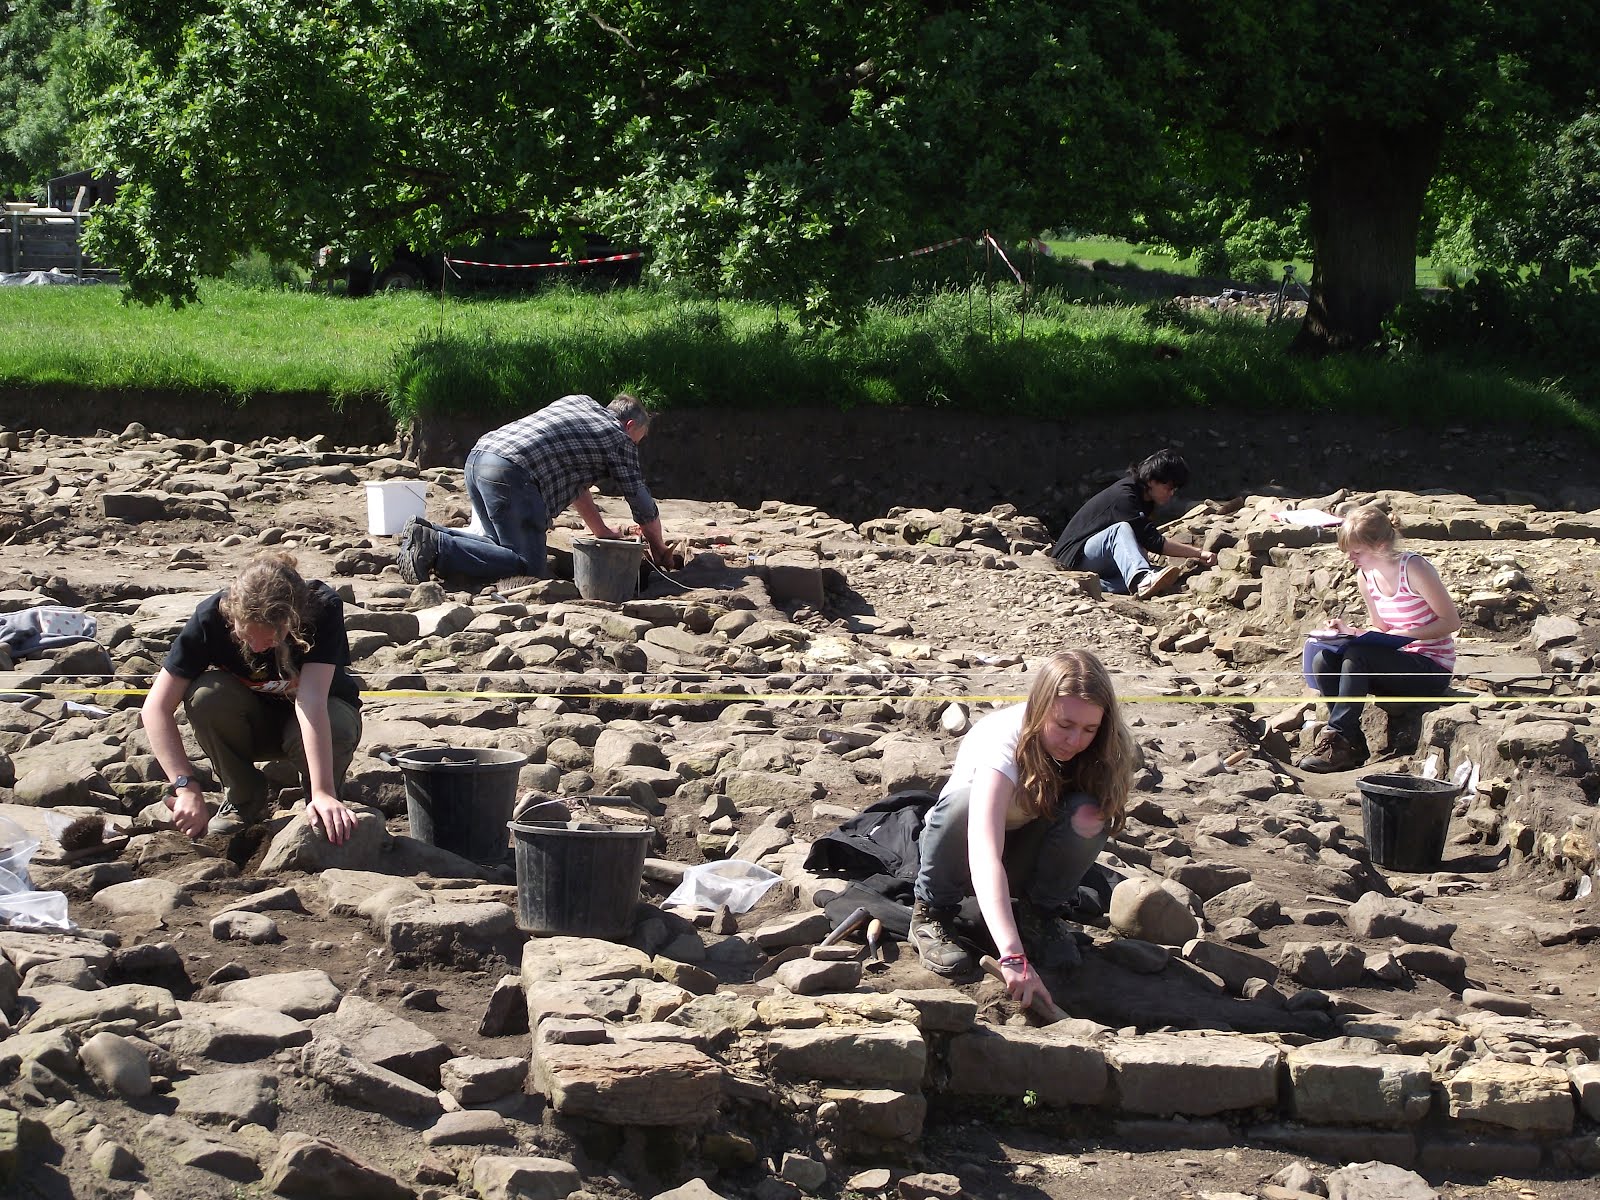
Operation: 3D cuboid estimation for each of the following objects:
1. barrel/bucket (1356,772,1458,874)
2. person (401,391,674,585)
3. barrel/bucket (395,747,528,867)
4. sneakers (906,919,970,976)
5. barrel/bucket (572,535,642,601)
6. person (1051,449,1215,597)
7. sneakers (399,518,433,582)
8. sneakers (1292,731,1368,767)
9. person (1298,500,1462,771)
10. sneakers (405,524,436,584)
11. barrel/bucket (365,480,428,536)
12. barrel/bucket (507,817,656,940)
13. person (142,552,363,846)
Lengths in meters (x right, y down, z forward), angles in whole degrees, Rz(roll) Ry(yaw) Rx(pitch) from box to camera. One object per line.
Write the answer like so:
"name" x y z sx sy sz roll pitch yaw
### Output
"barrel/bucket" 3.121 1.140 11.610 0.540 0.349 0.519 1 2 0
"person" -1.692 -0.705 14.008 1.756 0.897 0.922 -19 31 -25
"barrel/bucket" -1.594 0.982 10.800 0.602 0.381 0.566 1 -2 0
"sneakers" 0.619 1.571 10.193 0.169 0.138 0.319 -6 16 -38
"barrel/bucket" -1.191 -0.201 13.875 0.434 0.278 0.410 1 0 0
"person" 2.287 -0.470 15.938 1.283 1.056 0.833 8 -1 22
"sneakers" -2.359 -0.304 13.878 0.194 0.371 0.165 11 -11 -40
"sneakers" 3.049 0.864 12.879 0.321 0.113 0.192 0 -6 -30
"person" 3.314 0.202 12.893 0.828 1.491 0.514 1 11 11
"sneakers" -2.330 -0.285 13.828 0.170 0.361 0.178 -2 -13 12
"barrel/bucket" -2.688 -0.600 14.976 0.260 0.377 0.451 8 12 36
"barrel/bucket" -0.962 1.244 10.122 0.604 0.355 0.569 3 -7 0
"person" -2.523 0.450 10.406 0.964 1.325 0.645 -1 11 1
